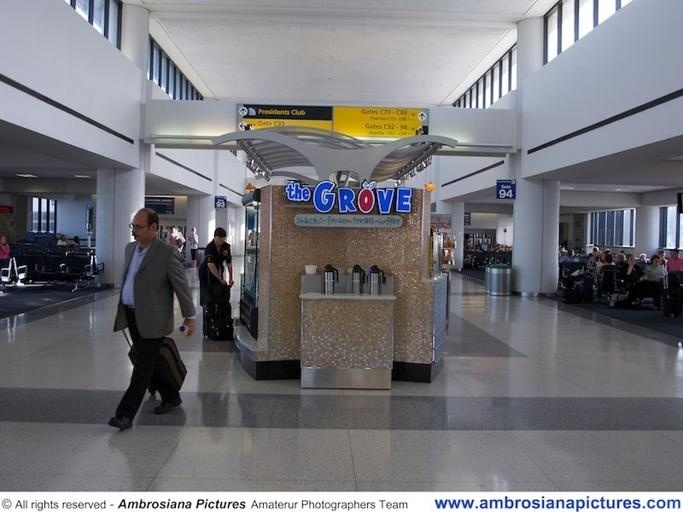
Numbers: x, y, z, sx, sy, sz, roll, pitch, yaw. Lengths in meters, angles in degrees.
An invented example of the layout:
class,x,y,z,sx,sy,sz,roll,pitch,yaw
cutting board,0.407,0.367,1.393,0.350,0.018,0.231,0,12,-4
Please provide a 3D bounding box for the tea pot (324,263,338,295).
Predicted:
class,x,y,z,sx,sy,sz,roll,pitch,yaw
tea pot,-0.119,0.285,6.320,0.175,0.349,0.135,1,3,-18

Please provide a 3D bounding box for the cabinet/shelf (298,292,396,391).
class,x,y,z,sx,sy,sz,roll,pitch,yaw
cabinet/shelf,0.069,0.960,6.723,1.386,1.306,1.035,0,1,1

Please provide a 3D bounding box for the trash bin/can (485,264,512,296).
class,x,y,z,sx,sy,sz,roll,pitch,yaw
trash bin/can,4.792,0.718,16.145,0.848,1.231,0.862,0,1,4

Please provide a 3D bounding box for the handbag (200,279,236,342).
class,x,y,z,sx,sy,sz,roll,pitch,yaw
handbag,-2.075,0.931,8.709,0.520,0.915,0.423,2,3,-9

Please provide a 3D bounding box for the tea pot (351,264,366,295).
class,x,y,z,sx,sy,sz,roll,pitch,yaw
tea pot,0.225,0.288,6.330,0.183,0.341,0.101,0,4,-42

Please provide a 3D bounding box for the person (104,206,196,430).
class,x,y,z,sx,sy,sz,roll,pitch,yaw
person,-1.869,0.583,5.153,0.768,2.089,0.759,1,3,-15

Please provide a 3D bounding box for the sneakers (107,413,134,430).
class,x,y,z,sx,sy,sz,roll,pitch,yaw
sneakers,-2.082,1.566,4.897,0.202,0.147,0.111,16,-11,-12

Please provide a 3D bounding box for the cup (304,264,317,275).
class,x,y,z,sx,sy,sz,roll,pitch,yaw
cup,-0.400,0.170,6.469,0.121,0.088,0.122,0,0,0

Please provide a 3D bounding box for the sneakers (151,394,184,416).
class,x,y,z,sx,sy,sz,roll,pitch,yaw
sneakers,-1.832,1.556,5.454,0.110,0.147,0.302,-3,-5,36

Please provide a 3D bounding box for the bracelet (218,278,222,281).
class,x,y,z,sx,sy,sz,roll,pitch,yaw
bracelet,-2.078,0.401,8.868,0.057,0.032,0.032,-13,-23,38

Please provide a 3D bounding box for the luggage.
class,x,y,z,sx,sy,sz,roll,pitch,yaw
luggage,-2.027,1.211,5.634,0.480,0.407,0.707,-12,31,-24
